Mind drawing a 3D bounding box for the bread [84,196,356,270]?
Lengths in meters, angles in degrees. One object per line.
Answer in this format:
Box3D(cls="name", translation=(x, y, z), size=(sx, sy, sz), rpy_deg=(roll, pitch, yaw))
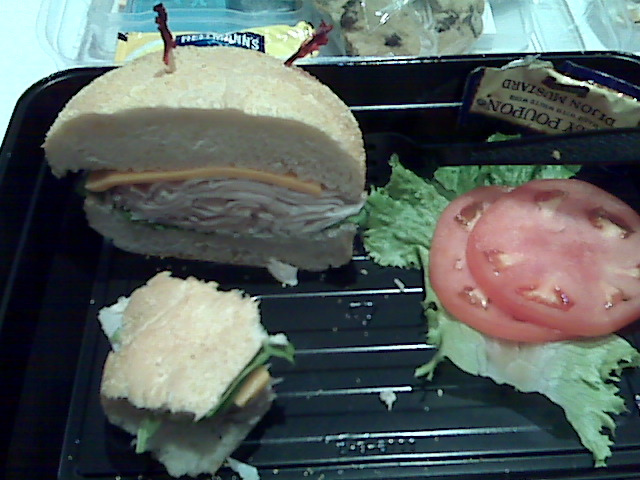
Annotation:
Box3D(cls="bread", translation=(-0.394, 0.017, 2.369), size=(0.904, 0.159, 0.354), rpy_deg=(4, 32, -8))
